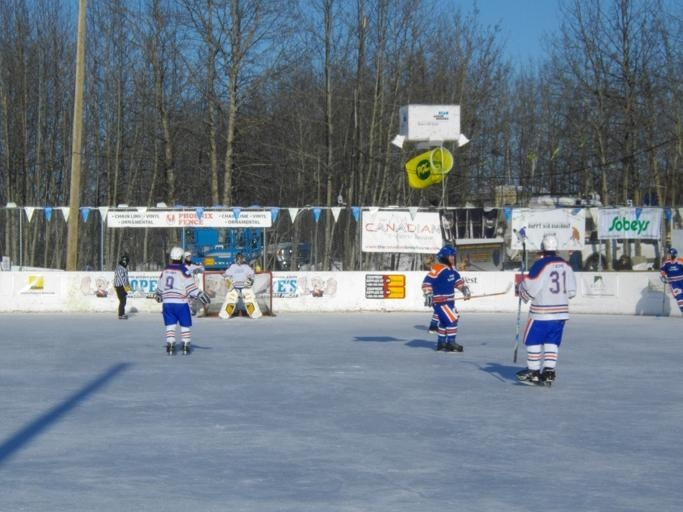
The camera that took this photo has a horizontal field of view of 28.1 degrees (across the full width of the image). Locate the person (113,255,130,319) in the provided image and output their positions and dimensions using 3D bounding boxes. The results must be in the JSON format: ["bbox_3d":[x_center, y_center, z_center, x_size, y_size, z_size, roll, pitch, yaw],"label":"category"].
[{"bbox_3d":[-7.711,1.107,47.588,0.531,2.054,1.002,-1,14,-10],"label":"person"}]

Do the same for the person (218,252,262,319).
[{"bbox_3d":[-3.615,1.039,47.944,1.340,2.359,0.722,0,13,-6],"label":"person"}]

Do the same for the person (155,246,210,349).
[{"bbox_3d":[-4.890,1.263,40.193,1.177,3.156,1.109,-1,4,-23],"label":"person"}]

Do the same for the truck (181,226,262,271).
[{"bbox_3d":[-4.519,-0.300,52.098,2.791,1.688,2.045,0,-3,-3],"label":"truck"}]

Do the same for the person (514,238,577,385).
[{"bbox_3d":[5.422,1.524,36.652,1.444,3.787,1.107,-10,17,-38],"label":"person"}]

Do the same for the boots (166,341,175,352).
[{"bbox_3d":[-5.032,2.662,39.773,0.229,0.361,0.299,-2,-1,6],"label":"boots"}]

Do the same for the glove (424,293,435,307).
[{"bbox_3d":[2.654,1.327,40.912,0.253,0.414,0.385,1,-5,-5],"label":"glove"}]
